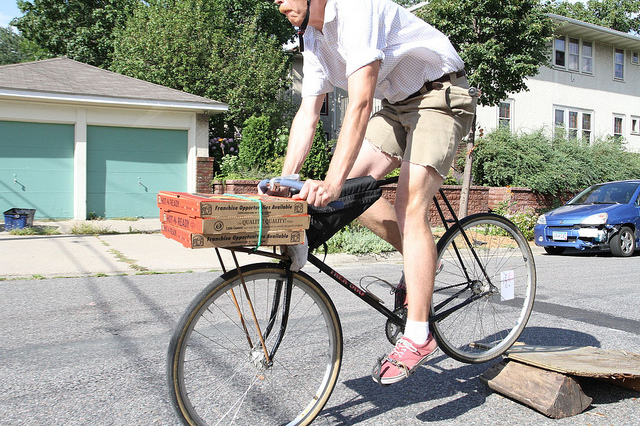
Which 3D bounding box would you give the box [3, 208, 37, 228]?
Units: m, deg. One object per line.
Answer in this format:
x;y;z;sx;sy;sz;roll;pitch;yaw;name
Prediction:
-7.692;0.118;12.933;0.675;0.414;0.493;-1;1;34;box
